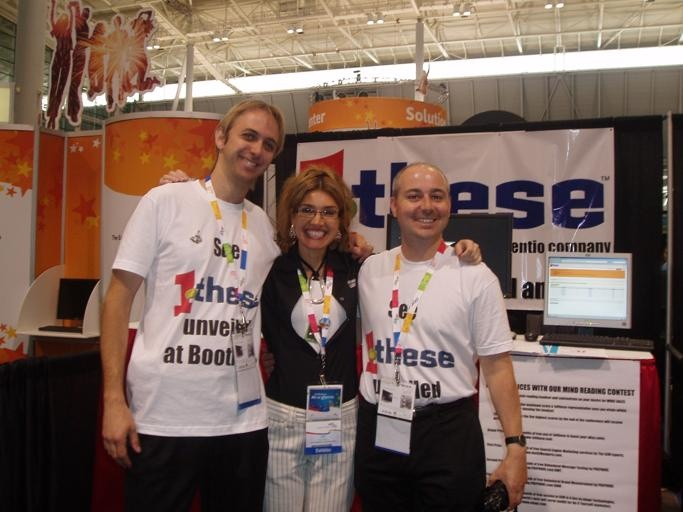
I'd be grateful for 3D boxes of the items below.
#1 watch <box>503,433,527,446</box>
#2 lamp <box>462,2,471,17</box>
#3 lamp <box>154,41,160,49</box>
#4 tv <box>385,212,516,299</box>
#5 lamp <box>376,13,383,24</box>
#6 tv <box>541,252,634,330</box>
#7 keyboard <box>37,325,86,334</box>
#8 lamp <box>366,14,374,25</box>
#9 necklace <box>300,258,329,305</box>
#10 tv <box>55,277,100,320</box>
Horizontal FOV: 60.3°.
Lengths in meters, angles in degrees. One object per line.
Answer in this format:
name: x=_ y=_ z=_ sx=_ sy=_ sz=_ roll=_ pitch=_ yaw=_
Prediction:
watch: x=0.846 y=0.891 z=2.829 sx=0.079 sy=0.057 sz=0.087 roll=-7 pitch=-14 yaw=11
lamp: x=2.199 y=-4.301 z=10.269 sx=0.162 sy=0.210 sz=0.174 roll=0 pitch=10 yaw=-3
lamp: x=-4.043 y=-4.615 z=12.842 sx=0.170 sy=0.099 sz=0.251 roll=-3 pitch=3 yaw=-18
tv: x=0.617 y=0.005 z=3.246 sx=0.496 sy=0.405 sz=0.025 roll=1 pitch=-3 yaw=12
lamp: x=0.705 y=-4.406 z=10.885 sx=0.104 sy=0.196 sz=0.181 roll=0 pitch=-4 yaw=-4
tv: x=1.728 y=0.240 z=4.110 sx=0.477 sy=0.500 sz=0.056 roll=1 pitch=-6 yaw=13
keyboard: x=-2.552 y=0.670 z=5.328 sx=0.449 sy=0.044 sz=0.200 roll=0 pitch=-1 yaw=14
lamp: x=0.561 y=-4.424 z=10.993 sx=0.143 sy=0.116 sz=0.263 roll=0 pitch=-1 yaw=4
necklace: x=-0.149 y=0.145 z=3.098 sx=0.127 sy=0.206 sz=0.046 roll=0 pitch=-19 yaw=-7
tv: x=-2.445 y=0.412 z=5.457 sx=0.355 sy=0.424 sz=0.051 roll=2 pitch=-4 yaw=7
